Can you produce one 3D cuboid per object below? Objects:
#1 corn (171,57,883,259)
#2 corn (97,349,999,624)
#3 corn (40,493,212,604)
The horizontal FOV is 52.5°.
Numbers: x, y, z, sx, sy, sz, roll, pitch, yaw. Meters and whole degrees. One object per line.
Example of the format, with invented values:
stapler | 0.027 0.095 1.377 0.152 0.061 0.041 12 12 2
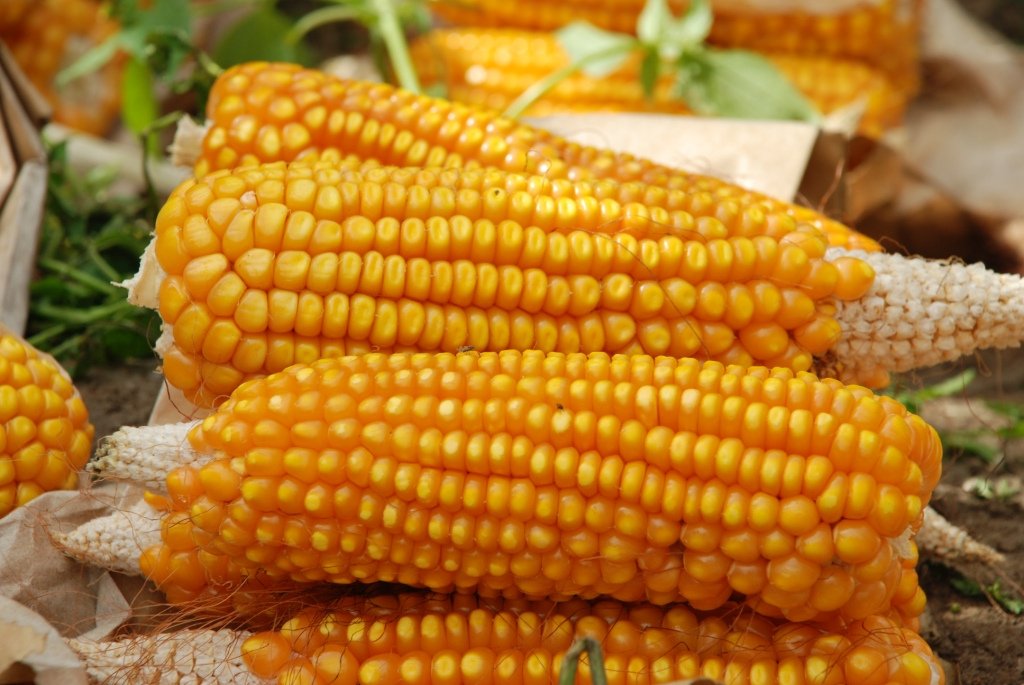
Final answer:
corn | 0.052 -0.273 1.555 0.909 0.212 0.205 13 21 8
corn | 0.037 0.187 1.343 1.024 0.342 0.262 6 51 -1
corn | -0.520 0.254 1.363 0.214 0.123 0.143 -3 8 -19
